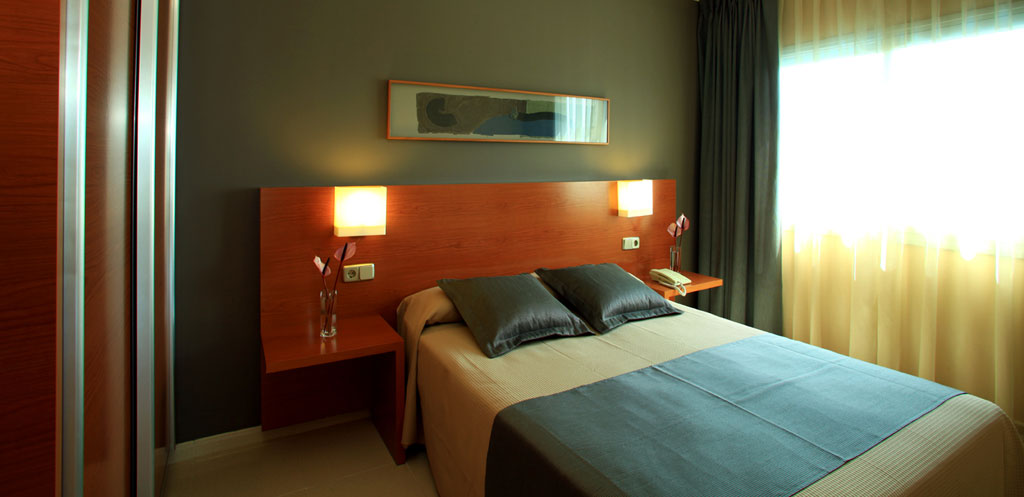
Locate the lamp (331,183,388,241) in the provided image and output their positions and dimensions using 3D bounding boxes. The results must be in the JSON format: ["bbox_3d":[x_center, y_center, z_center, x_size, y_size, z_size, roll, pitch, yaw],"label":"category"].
[{"bbox_3d":[-1.311,-0.304,5.384,0.570,0.446,0.241,-1,10,-20],"label":"lamp"}]

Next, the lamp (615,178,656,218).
[{"bbox_3d":[1.231,-0.499,6.379,0.475,0.381,0.226,-3,10,-22],"label":"lamp"}]
